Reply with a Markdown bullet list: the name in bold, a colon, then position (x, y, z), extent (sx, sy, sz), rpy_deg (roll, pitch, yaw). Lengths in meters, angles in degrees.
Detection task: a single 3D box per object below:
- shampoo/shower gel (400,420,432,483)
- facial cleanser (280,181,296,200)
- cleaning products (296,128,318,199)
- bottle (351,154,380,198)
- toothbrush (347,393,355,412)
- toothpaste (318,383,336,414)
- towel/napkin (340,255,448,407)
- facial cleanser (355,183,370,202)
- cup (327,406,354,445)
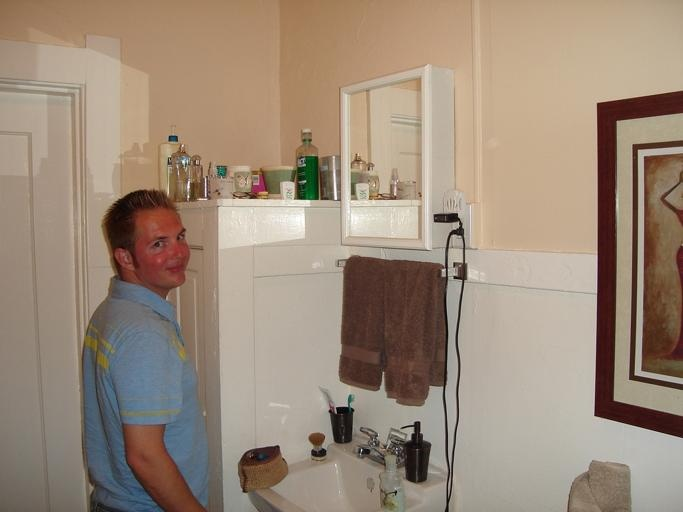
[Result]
- **shampoo/shower gel**: position (0.265, 0.660, 1.973), extent (0.095, 0.205, 0.195), rpy_deg (-2, 4, 8)
- **facial cleanser**: position (-0.205, -0.251, 2.113), extent (0.051, 0.072, 0.087), rpy_deg (-3, 4, -11)
- **cleaning products**: position (-0.140, -0.365, 2.234), extent (0.094, 0.281, 0.210), rpy_deg (-2, 4, -4)
- **bottle**: position (0.062, -0.290, 2.013), extent (0.080, 0.153, 0.139), rpy_deg (0, 15, 25)
- **toothbrush**: position (0.033, 0.584, 2.240), extent (0.021, 0.081, 0.013), rpy_deg (-1, 22, 6)
- **toothpaste**: position (-0.063, 0.566, 2.221), extent (0.017, 0.135, 0.125), rpy_deg (-25, 9, -24)
- **towel/napkin**: position (0.187, 0.244, 1.922), extent (0.147, 0.587, 0.516), rpy_deg (3, -1, -39)
- **facial cleanser**: position (0.073, -0.235, 2.016), extent (0.052, 0.081, 0.062), rpy_deg (4, -6, 0)
- **cup**: position (-0.002, 0.658, 2.187), extent (0.105, 0.113, 0.126), rpy_deg (-1, -3, 8)
